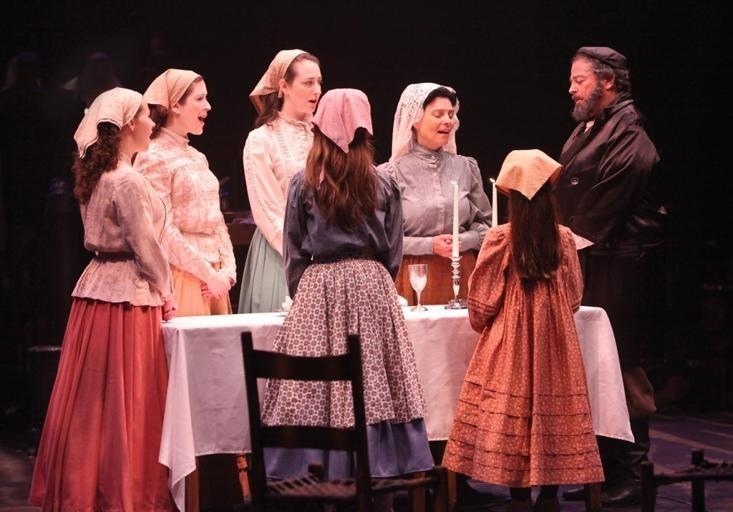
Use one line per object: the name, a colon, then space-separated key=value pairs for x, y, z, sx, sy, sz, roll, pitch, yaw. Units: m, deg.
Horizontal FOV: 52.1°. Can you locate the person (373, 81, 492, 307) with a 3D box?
person: x=0.439 y=-0.071 z=4.767 sx=0.764 sy=1.936 sz=0.737 roll=0 pitch=12 yaw=14

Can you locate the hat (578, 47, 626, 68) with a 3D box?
hat: x=1.552 y=-1.325 z=5.007 sx=0.201 sy=0.078 sz=0.213 roll=11 pitch=10 yaw=-17
